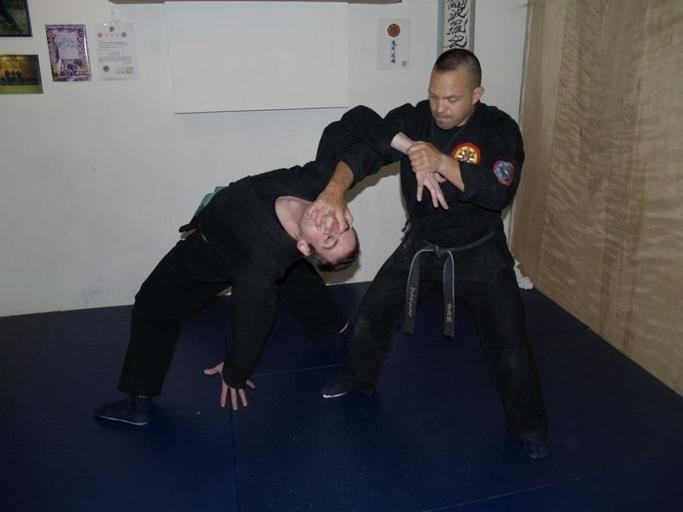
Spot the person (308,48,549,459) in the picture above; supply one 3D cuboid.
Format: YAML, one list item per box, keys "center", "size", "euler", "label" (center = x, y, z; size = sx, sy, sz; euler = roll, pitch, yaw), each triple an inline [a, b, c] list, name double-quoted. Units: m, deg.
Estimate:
- center: [0.518, 0.006, 2.831]
  size: [1.252, 2.158, 1.132]
  euler: [2, 22, 10]
  label: "person"

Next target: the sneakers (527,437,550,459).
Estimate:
- center: [1.077, 1.059, 2.735]
  size: [0.114, 0.099, 0.105]
  euler: [-5, 13, -10]
  label: "sneakers"
